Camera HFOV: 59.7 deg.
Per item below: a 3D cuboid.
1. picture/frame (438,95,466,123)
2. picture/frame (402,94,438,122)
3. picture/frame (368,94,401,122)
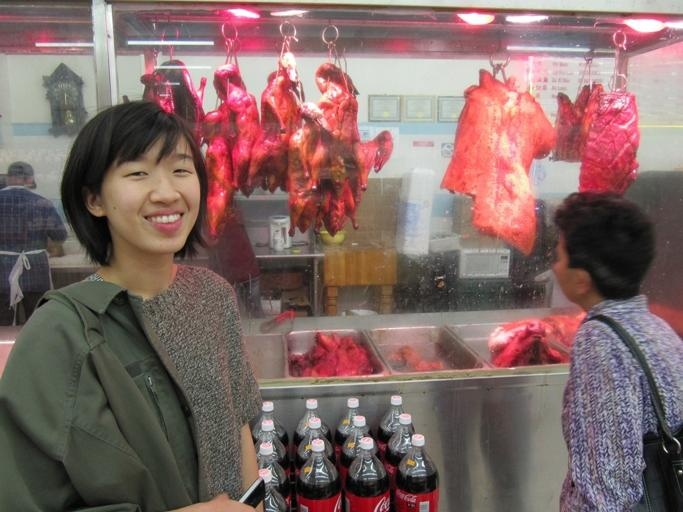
[{"bbox_3d":[0.567,-0.760,3.074,0.133,0.118,0.014,0,6,-6],"label":"picture/frame"},{"bbox_3d":[0.391,-0.759,3.050,0.140,0.106,0.010,-1,6,-9],"label":"picture/frame"},{"bbox_3d":[0.212,-0.757,3.036,0.137,0.104,0.010,0,7,-2],"label":"picture/frame"}]
